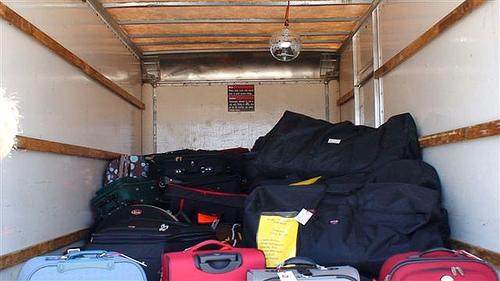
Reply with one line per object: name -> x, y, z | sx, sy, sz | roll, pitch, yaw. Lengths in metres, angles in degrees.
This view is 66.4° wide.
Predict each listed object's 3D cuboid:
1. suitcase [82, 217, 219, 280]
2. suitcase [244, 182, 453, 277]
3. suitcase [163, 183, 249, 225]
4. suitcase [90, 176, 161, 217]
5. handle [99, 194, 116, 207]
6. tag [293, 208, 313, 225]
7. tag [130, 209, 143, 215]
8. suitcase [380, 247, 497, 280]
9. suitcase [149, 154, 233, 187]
suitcase -> -0.885, 0.911, 3.428 | 0.874, 0.263, 0.608 | 1, -4, -13
suitcase -> 0.785, 0.710, 3.406 | 1.549, 0.501, 0.876 | -1, -1, 2
suitcase -> -0.498, 0.679, 4.241 | 0.758, 0.223, 0.512 | 3, -3, -17
suitcase -> -1.391, 0.568, 4.313 | 0.524, 0.225, 0.508 | -19, 0, -42
handle -> -1.560, 0.655, 4.197 | 0.180, 0.138, 0.026 | 0, -9, 17
tag -> 0.475, 0.669, 3.368 | 0.130, 0.123, 0.032 | 35, -9, 9
tag -> -1.098, 0.691, 3.706 | 0.112, 0.052, 0.045 | 0, -9, 15
suitcase -> 1.442, 0.944, 2.861 | 0.662, 0.200, 0.348 | -1, -3, -1
suitcase -> -0.767, 0.391, 5.053 | 1.314, 0.300, 1.350 | -10, -9, 42
